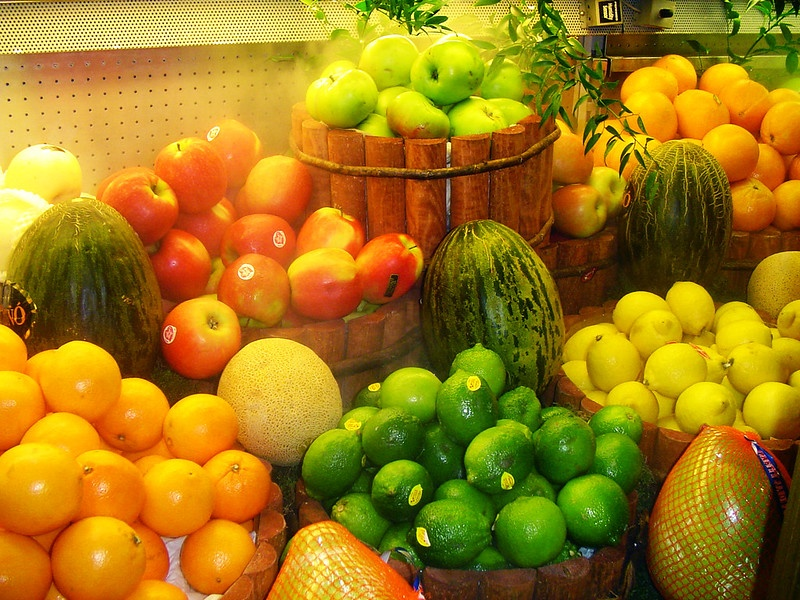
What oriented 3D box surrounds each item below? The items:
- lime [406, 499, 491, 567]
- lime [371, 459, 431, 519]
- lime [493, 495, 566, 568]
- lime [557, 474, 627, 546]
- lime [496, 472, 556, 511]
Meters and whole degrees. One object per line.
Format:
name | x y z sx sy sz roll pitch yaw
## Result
lime | 0.118 0.563 1.535 0.166 0.147 0.137 -1 -22 -6
lime | 0.008 0.491 1.689 0.111 0.130 0.152 9 -4 39
lime | 0.312 0.566 1.552 0.150 0.175 0.156 -1 7 3
lime | 0.479 0.533 1.670 0.148 0.201 0.171 -7 31 4
lime | 0.334 0.488 1.714 0.119 0.104 0.098 -12 33 -14
